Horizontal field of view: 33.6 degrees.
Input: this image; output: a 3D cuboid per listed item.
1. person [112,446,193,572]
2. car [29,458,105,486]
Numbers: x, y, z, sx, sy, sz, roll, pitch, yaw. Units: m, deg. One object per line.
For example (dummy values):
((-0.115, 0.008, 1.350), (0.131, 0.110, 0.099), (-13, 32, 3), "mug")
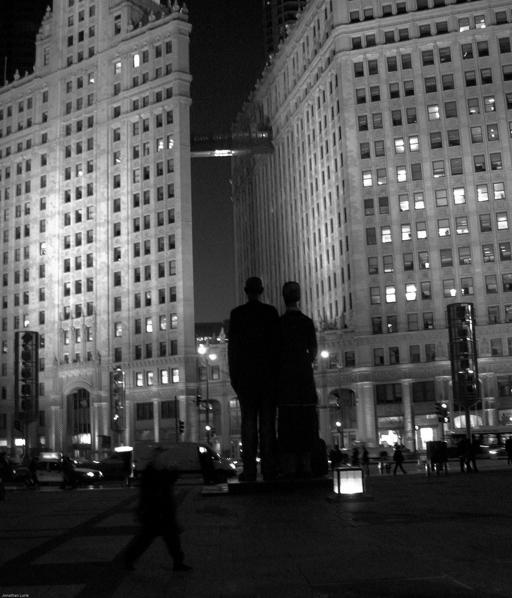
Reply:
((-1.119, 2.248, 9.245), (0.660, 1.283, 1.184), (-2, -11, -9), "person")
((-8.902, 7.958, 38.279), (2.597, 1.124, 1.688), (3, -15, 1), "car")
